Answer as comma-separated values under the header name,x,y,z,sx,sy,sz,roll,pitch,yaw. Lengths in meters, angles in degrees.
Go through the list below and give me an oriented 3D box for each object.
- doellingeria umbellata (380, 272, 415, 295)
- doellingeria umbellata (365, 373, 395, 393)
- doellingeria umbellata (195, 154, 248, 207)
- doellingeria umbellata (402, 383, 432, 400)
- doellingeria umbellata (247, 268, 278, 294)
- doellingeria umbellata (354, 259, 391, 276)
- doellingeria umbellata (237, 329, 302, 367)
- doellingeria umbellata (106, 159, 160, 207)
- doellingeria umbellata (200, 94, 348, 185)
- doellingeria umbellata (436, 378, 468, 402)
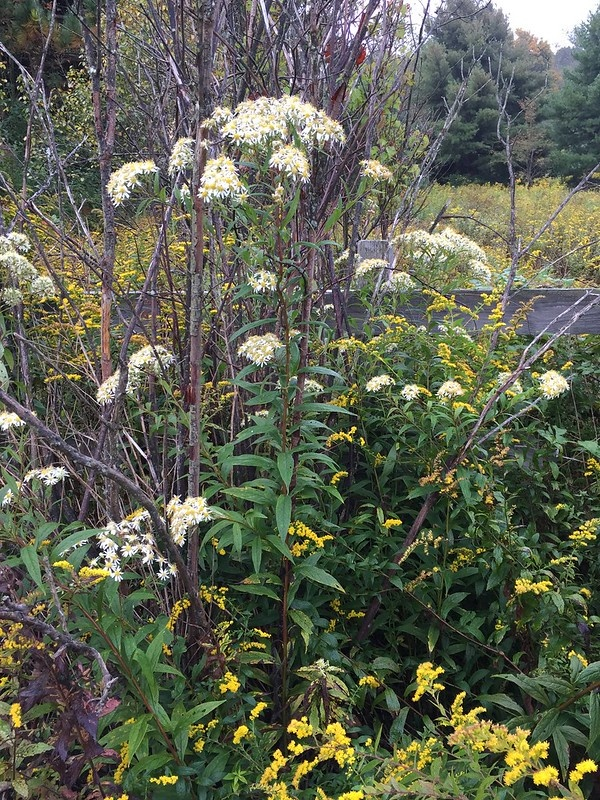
name,x,y,z,sx,sy,sz,roll,pitch,yaw
doellingeria umbellata,0.496,-0.575,3.568,0.183,0.143,0.182,0,1,3
doellingeria umbellata,0.303,-0.055,2.655,0.081,0.033,0.082,-20,-10,20
doellingeria umbellata,-0.200,-0.605,1.986,0.154,0.151,0.158,-13,26,-36
doellingeria umbellata,0.428,-0.025,2.614,0.075,0.041,0.080,1,3,-3
doellingeria umbellata,-0.106,-0.350,2.120,0.080,0.078,0.029,37,-11,7
doellingeria umbellata,0.369,-0.659,3.612,0.170,0.096,0.163,-1,-16,-3
doellingeria umbellata,-0.113,-0.160,2.298,0.137,0.118,0.266,2,7,-23
doellingeria umbellata,-0.529,-0.671,2.222,0.141,0.177,0.328,3,7,-16
doellingeria umbellata,-0.053,-0.774,2.148,0.358,0.230,0.378,4,31,-2
doellingeria umbellata,0.563,-0.036,2.593,0.088,0.068,0.082,-23,34,-12
